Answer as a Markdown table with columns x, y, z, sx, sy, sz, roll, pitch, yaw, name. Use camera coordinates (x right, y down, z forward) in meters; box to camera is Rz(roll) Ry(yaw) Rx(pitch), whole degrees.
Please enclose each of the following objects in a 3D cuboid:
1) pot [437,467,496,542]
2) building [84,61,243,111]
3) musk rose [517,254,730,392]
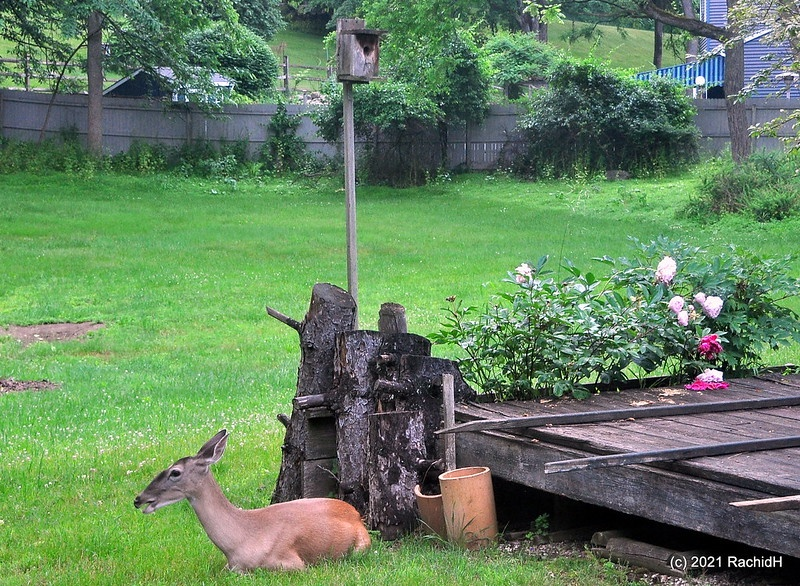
| x | y | z | sx | sy | sz | roll | pitch | yaw | name |
| --- | --- | --- | --- | --- | --- | --- | --- | --- | --- |
| 1.167 | 3.533 | 22.439 | 0.931 | 1.213 | 0.850 | -6 | 10 | 1 | pot |
| -8.901 | -7.705 | 48.924 | 4.374 | 1.371 | 6.443 | -3 | 8 | -35 | building |
| 3.902 | 0.532 | 23.327 | 3.452 | 2.381 | 1.110 | 1 | 6 | -7 | musk rose |
